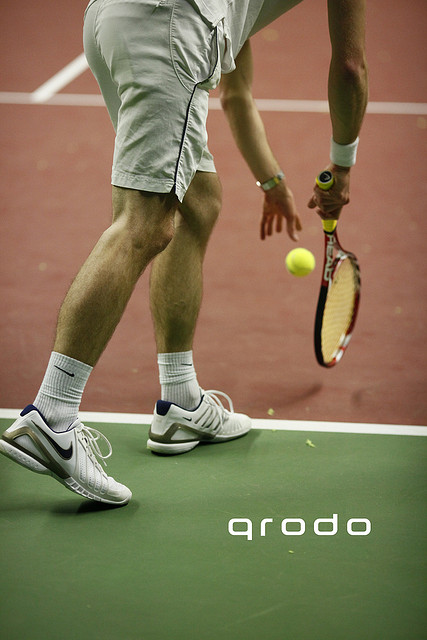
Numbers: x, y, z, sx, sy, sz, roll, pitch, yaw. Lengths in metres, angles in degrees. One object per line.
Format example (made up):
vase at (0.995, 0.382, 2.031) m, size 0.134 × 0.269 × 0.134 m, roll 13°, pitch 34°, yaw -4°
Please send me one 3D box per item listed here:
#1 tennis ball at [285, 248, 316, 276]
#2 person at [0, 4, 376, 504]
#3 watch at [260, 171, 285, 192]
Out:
tennis ball at (0.235, -0.158, 1.473) m, size 0.085 × 0.074 × 0.043 m, roll 4°, pitch -3°, yaw 3°
person at (-0.109, -0.179, 1.324) m, size 0.728 × 0.972 × 1.031 m, roll -1°, pitch 4°, yaw -20°
watch at (0.150, -0.349, 1.426) m, size 0.060 × 0.039 × 0.065 m, roll -27°, pitch -10°, yaw 30°
